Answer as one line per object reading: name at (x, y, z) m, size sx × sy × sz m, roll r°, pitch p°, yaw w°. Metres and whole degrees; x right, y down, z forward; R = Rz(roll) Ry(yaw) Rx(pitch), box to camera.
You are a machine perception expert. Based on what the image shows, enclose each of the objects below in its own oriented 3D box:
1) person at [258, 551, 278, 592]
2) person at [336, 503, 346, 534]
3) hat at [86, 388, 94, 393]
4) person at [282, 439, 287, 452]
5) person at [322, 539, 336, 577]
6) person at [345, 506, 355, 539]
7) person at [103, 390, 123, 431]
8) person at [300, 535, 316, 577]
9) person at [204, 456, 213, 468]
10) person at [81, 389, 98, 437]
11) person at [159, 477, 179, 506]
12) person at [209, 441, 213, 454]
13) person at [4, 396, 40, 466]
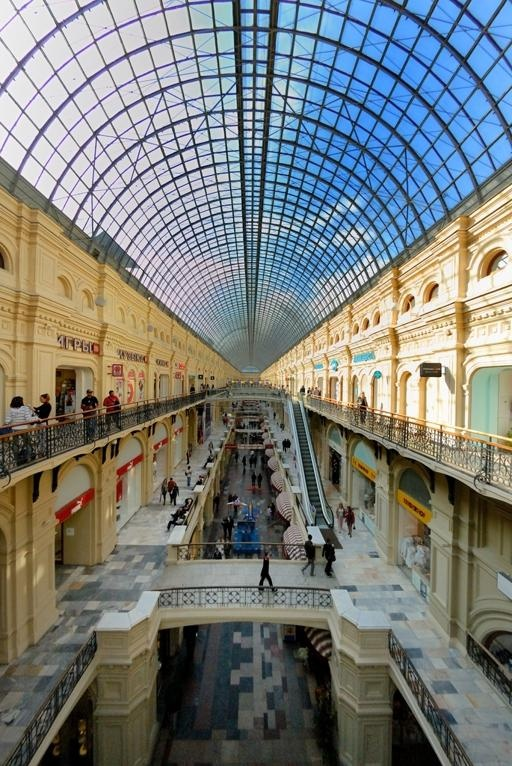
person at (0.308, 6.030, 15.243) m, size 0.544 × 1.238 × 1.691 m, roll -1°, pitch 5°, yaw 0°
person at (3.917, 6.165, 21.670) m, size 0.336 × 1.405 × 1.513 m, roll 0°, pitch 5°, yaw 10°
hat at (-6.167, 0.248, 17.139) m, size 0.138 × 0.201 × 0.193 m, roll -1°, pitch -8°, yaw -15°
person at (2.315, 5.173, 37.921) m, size 0.291 × 0.815 × 0.875 m, roll 0°, pitch 5°, yaw 11°
person at (2.532, 6.118, 16.426) m, size 0.374 × 1.249 × 0.918 m, roll 0°, pitch 5°, yaw 8°
person at (4.131, 6.189, 20.877) m, size 0.418 × 1.146 × 1.244 m, roll 0°, pitch 5°, yaw 9°
person at (-5.277, 1.051, 17.013) m, size 0.494 × 1.449 × 1.773 m, roll -2°, pitch 5°, yaw -13°
person at (1.848, 6.046, 16.430) m, size 0.392 × 1.053 × 0.973 m, roll 0°, pitch 5°, yaw 13°
person at (-3.215, 5.267, 31.094) m, size 0.367 × 0.653 × 0.886 m, roll 0°, pitch 9°, yaw 1°
person at (-5.422, 1.029, 15.123) m, size 0.478 × 1.480 × 1.741 m, roll -2°, pitch 5°, yaw -21°
person at (-4.830, 5.989, 25.556) m, size 0.897 × 1.719 × 0.567 m, roll 4°, pitch -26°, yaw -2°
person at (-3.985, 5.545, 40.228) m, size 0.347 × 1.118 × 0.477 m, roll -5°, pitch 21°, yaw -16°
person at (-5.625, 1.115, 11.194) m, size 0.662 × 1.545 × 1.798 m, roll -3°, pitch 5°, yaw -27°
